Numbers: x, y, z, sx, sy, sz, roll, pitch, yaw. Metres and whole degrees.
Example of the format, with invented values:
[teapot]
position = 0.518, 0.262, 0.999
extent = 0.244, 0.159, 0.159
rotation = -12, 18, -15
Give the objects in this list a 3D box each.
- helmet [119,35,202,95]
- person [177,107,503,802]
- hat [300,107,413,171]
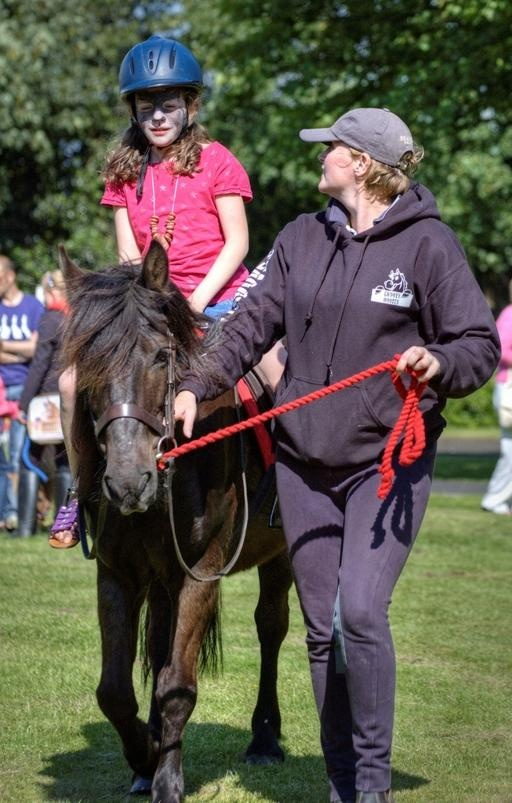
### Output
[helmet]
position = -0.368, -1.358, 4.351
extent = 0.280, 0.177, 0.346
rotation = -5, 28, 16
[person]
position = 0.312, 0.151, 3.685
extent = 1.144, 2.253, 0.589
rotation = 20, 15, 39
[hat]
position = 0.353, -0.920, 3.800
extent = 0.419, 0.175, 0.251
rotation = 13, 14, 21
